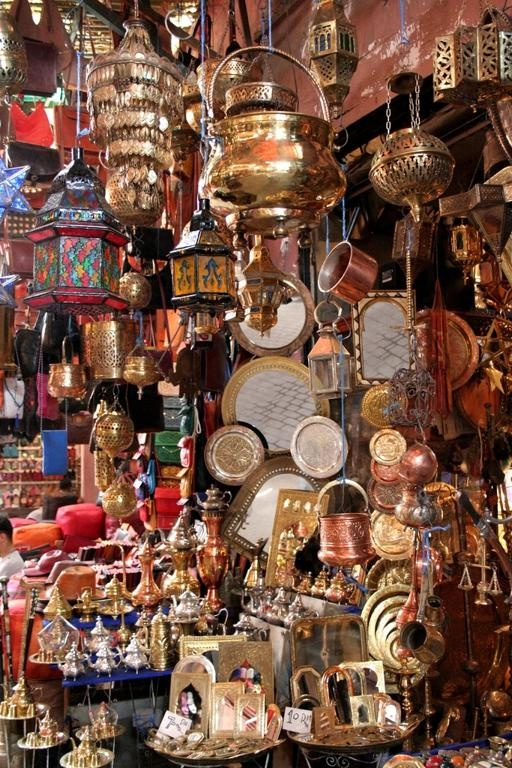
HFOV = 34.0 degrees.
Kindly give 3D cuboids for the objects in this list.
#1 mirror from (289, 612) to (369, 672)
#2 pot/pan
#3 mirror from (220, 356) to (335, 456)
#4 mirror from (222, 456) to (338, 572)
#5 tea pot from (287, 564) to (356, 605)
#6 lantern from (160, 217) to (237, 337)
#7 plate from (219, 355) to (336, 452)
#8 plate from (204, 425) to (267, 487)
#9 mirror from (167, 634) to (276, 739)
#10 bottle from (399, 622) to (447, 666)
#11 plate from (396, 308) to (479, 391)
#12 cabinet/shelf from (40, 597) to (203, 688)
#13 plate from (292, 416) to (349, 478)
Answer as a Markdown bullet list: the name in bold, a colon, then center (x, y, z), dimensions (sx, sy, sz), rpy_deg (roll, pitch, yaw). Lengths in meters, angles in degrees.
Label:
- **mirror**: center (0.217, 0.789, 2.569), dimensions (0.186, 0.172, 0.035), rpy_deg (-2, -8, -20)
- **pot/pan**: center (0.268, -0.363, 2.419), dimensions (0.149, 0.205, 0.124), rpy_deg (16, -26, -21)
- **mirror**: center (0.094, 0.095, 3.298), dimensions (0.431, 0.398, 0.025), rpy_deg (1, -10, 1)
- **mirror**: center (0.061, 0.503, 3.391), dimensions (0.347, 0.399, 0.096), rpy_deg (33, -4, 21)
- **tea pot**: center (0.239, 0.695, 2.901), dimensions (0.122, 0.138, 0.299), rpy_deg (10, -16, -39)
- **lantern**: center (-0.147, -0.308, 2.357), dimensions (0.183, 0.272, 0.363), rpy_deg (0, -18, -3)
- **plate**: center (0.094, 0.086, 3.302), dimensions (0.417, 0.385, 0.024), rpy_deg (2, -9, 1)
- **plate**: center (-0.076, 0.270, 3.298), dimensions (0.242, 0.240, 0.106), rpy_deg (0, -18, -4)
- **mirror**: center (-0.091, 0.898, 2.485), dimensions (0.283, 0.264, 0.065), rpy_deg (-3, -27, 7)
- **bottle**: center (0.449, 0.673, 2.198), dimensions (0.152, 0.106, 0.091), rpy_deg (15, -24, -43)
- **plate**: center (0.650, -0.133, 2.828), dimensions (0.208, 0.286, 0.148), rpy_deg (-4, -18, 8)
- **cabinet/shelf**: center (-0.513, 0.938, 2.987), dimensions (0.461, 0.231, 0.514), rpy_deg (14, -23, -40)
- **plate**: center (0.233, 0.230, 3.066), dimensions (0.224, 0.212, 0.039), rpy_deg (5, 9, 28)
